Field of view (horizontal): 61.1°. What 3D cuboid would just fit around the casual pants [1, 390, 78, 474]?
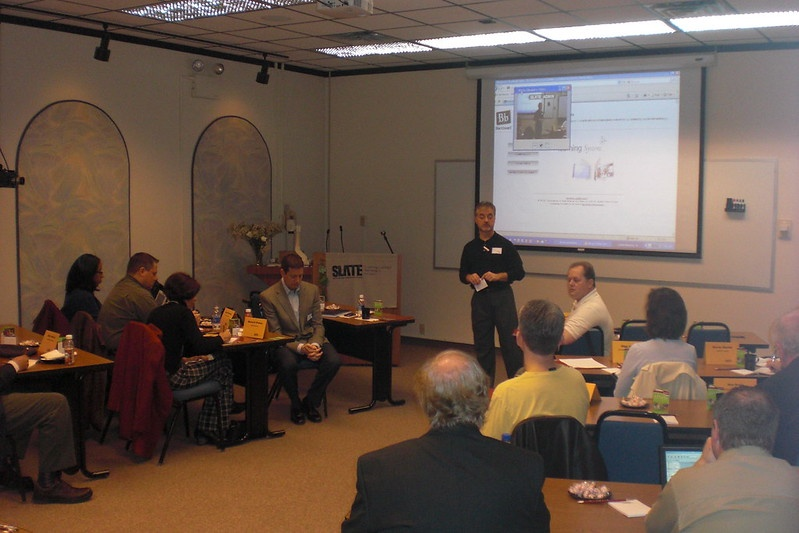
[{"bbox_3d":[-2.893,1.305,5.436,0.706,0.697,0.417,3,5,19],"label":"casual pants"}]

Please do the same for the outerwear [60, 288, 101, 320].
[{"bbox_3d":[-3.206,0.371,6.822,0.461,0.315,0.290,4,9,25],"label":"outerwear"}]

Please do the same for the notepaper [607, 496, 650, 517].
[{"bbox_3d":[1.279,1.346,3.762,0.218,0.028,0.147,2,12,2],"label":"notepaper"}]

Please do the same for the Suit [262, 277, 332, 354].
[{"bbox_3d":[-1.233,0.546,7.403,0.597,0.822,0.751,-2,-4,-32],"label":"Suit"}]

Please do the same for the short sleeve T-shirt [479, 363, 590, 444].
[{"bbox_3d":[0.861,0.814,4.330,0.753,0.575,0.395,2,4,-5],"label":"short sleeve T-shirt"}]

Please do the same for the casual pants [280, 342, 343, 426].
[{"bbox_3d":[-1.014,1.231,7.246,0.591,0.816,0.653,6,-15,-18],"label":"casual pants"}]

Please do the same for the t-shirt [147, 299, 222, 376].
[{"bbox_3d":[-1.971,0.675,6.388,0.555,0.691,0.677,0,4,16],"label":"t-shirt"}]

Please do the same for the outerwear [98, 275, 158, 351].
[{"bbox_3d":[-2.734,0.371,6.739,0.662,0.609,0.394,23,22,28],"label":"outerwear"}]

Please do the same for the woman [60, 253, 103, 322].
[{"bbox_3d":[-3.236,0.229,7.011,0.487,0.694,0.461,4,-4,-37],"label":"woman"}]

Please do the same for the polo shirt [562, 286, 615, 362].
[{"bbox_3d":[1.825,0.482,6.584,0.560,0.795,0.967,0,-3,16],"label":"polo shirt"}]

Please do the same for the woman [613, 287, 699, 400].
[{"bbox_3d":[2.032,0.691,5.340,0.643,1.027,0.596,3,-11,-12],"label":"woman"}]

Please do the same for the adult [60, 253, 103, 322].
[{"bbox_3d":[-3.232,0.230,7.021,0.498,0.700,0.472,3,-5,-24],"label":"adult"}]

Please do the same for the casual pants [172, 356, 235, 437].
[{"bbox_3d":[-1.883,1.297,6.264,0.556,0.504,0.832,-8,27,-2],"label":"casual pants"}]

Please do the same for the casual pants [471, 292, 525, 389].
[{"bbox_3d":[1.087,0.737,7.766,0.512,1.212,0.345,-1,26,16],"label":"casual pants"}]

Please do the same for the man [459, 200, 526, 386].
[{"bbox_3d":[1.090,0.398,7.787,0.724,2.292,0.688,-5,21,3],"label":"man"}]

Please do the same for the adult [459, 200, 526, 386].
[{"bbox_3d":[1.022,0.403,7.804,0.713,2.281,0.686,2,25,18],"label":"adult"}]

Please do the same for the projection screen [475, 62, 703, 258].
[{"bbox_3d":[2.532,-1.347,8.611,2.549,2.052,0.108,0,-1,27],"label":"projection screen"}]
